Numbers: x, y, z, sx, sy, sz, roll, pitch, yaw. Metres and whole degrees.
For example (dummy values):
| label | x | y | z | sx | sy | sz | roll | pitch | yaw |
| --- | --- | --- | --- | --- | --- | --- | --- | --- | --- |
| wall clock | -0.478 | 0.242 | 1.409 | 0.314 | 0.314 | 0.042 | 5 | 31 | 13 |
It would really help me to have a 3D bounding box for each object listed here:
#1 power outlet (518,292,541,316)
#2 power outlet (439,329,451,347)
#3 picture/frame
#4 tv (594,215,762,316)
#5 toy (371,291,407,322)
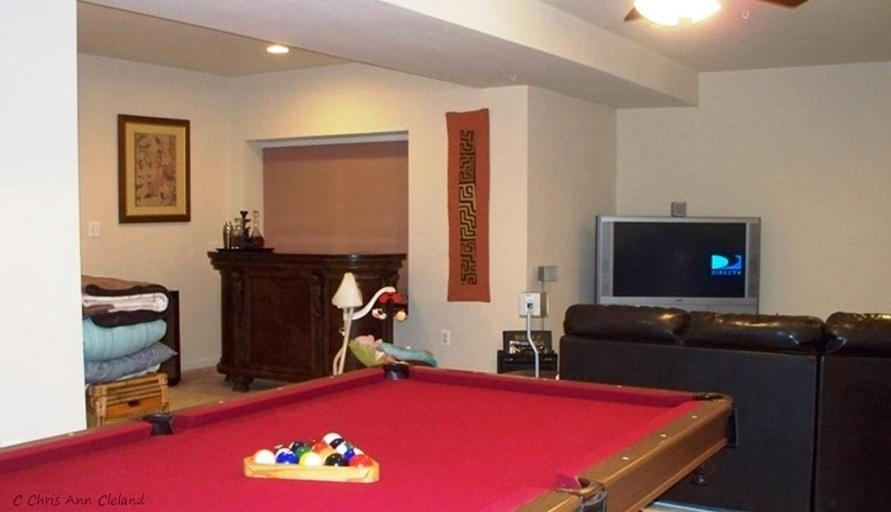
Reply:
| label | x | y | z | sx | sy | sz | roll | pitch | yaw |
| --- | --- | --- | --- | --- | --- | --- | --- | --- | --- |
| power outlet | 0.666 | 0.373 | 4.921 | 0.191 | 0.164 | 0.190 | -2 | -5 | 29 |
| power outlet | 0.009 | 0.824 | 6.525 | 0.115 | 0.168 | 0.020 | 1 | 3 | 32 |
| picture/frame | -3.192 | -0.947 | 7.069 | 0.721 | 1.168 | 0.113 | -2 | 3 | -43 |
| tv | 2.476 | 0.080 | 6.853 | 1.681 | 1.009 | 0.099 | 0 | 2 | 5 |
| toy | -0.476 | 0.492 | 6.055 | 0.374 | 0.315 | 0.146 | 1 | 10 | 14 |
